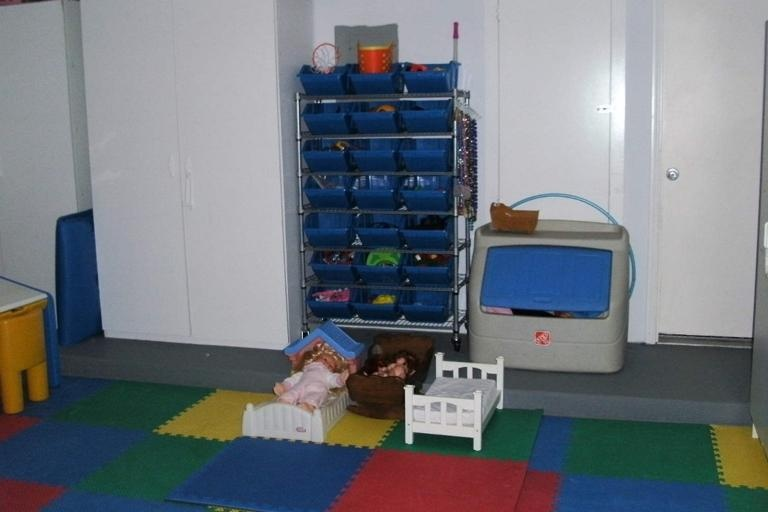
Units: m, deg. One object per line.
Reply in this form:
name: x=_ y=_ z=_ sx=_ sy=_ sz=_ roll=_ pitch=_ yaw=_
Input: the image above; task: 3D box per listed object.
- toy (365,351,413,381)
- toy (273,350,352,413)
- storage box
toy: x=0.030 y=0.743 z=4.298 sx=0.349 sy=0.097 sz=0.333 roll=-1 pitch=15 yaw=3
toy: x=-0.438 y=0.789 z=4.105 sx=0.373 sy=0.189 sz=0.557 roll=1 pitch=15 yaw=10
storage box: x=-0.051 y=-0.521 z=4.970 sx=1.261 sy=2.109 sz=0.679 roll=0 pitch=15 yaw=6
